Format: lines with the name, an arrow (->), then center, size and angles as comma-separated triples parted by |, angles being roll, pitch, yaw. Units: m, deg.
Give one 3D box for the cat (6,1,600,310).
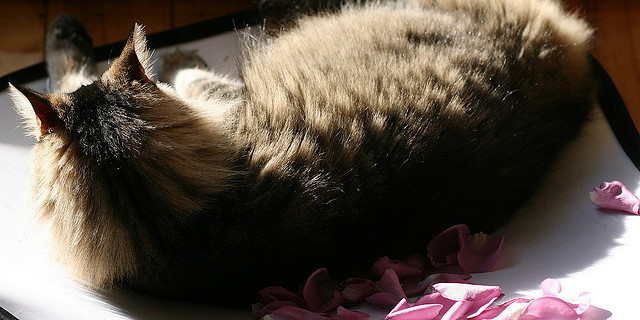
cat -> 0.025, 0.031, 2.131 | 1.591, 0.889, 0.653 | -22, -16, -2
